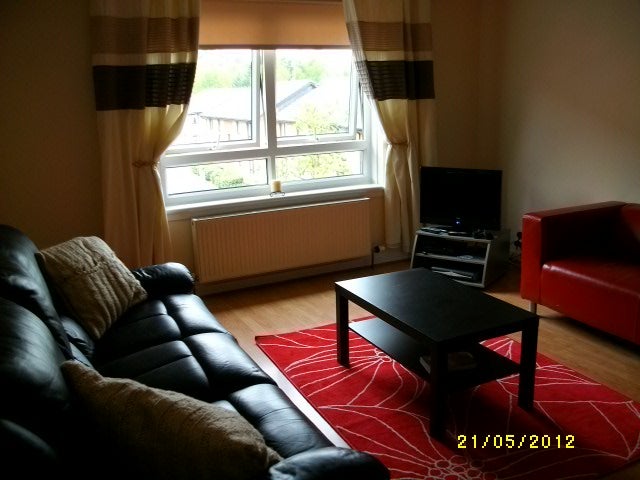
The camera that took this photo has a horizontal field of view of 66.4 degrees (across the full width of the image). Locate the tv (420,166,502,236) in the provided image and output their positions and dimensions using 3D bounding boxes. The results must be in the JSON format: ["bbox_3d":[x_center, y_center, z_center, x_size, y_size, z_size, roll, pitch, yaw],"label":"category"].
[{"bbox_3d":[1.266,-0.369,4.428,0.711,0.582,0.192,6,18,25],"label":"tv"}]

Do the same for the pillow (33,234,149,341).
[{"bbox_3d":[-1.286,0.244,2.755,0.155,0.549,0.541,-29,6,22],"label":"pillow"}]

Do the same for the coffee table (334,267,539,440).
[{"bbox_3d":[0.681,0.635,3.101,0.795,0.587,1.155,-8,13,-28],"label":"coffee table"}]

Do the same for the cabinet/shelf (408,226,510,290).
[{"bbox_3d":[1.393,0.118,4.552,0.612,0.417,0.639,6,14,35],"label":"cabinet/shelf"}]

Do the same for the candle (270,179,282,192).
[{"bbox_3d":[-0.410,-0.502,4.568,0.098,0.120,0.103,2,8,3],"label":"candle"}]
